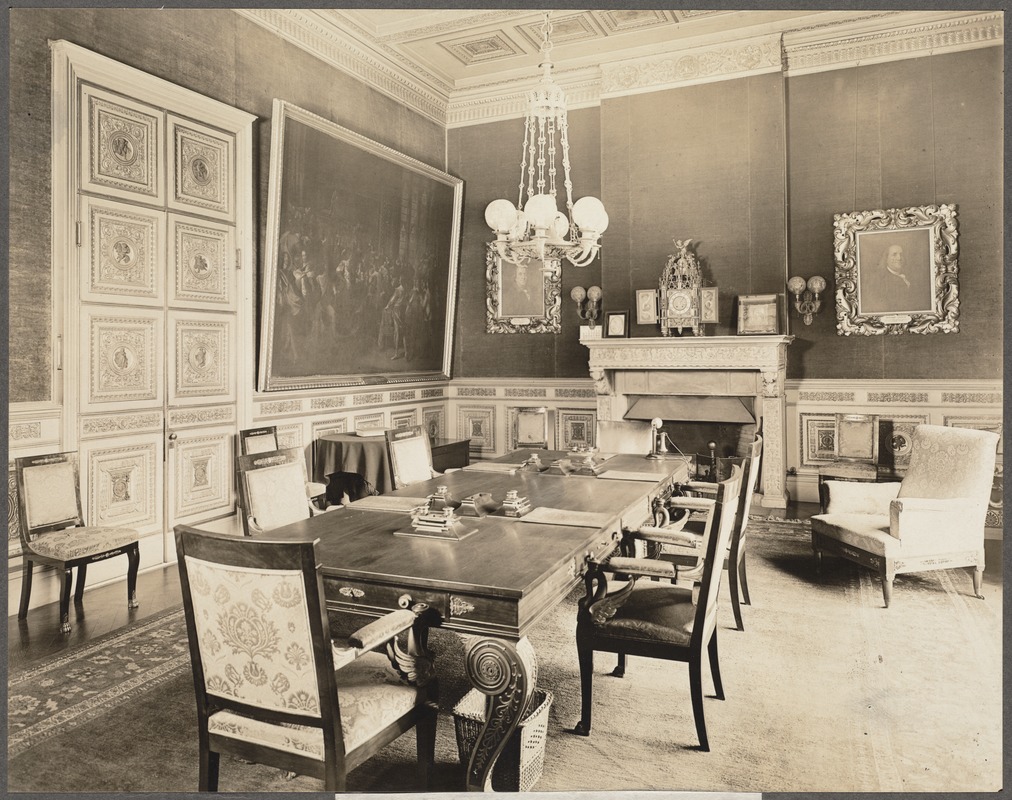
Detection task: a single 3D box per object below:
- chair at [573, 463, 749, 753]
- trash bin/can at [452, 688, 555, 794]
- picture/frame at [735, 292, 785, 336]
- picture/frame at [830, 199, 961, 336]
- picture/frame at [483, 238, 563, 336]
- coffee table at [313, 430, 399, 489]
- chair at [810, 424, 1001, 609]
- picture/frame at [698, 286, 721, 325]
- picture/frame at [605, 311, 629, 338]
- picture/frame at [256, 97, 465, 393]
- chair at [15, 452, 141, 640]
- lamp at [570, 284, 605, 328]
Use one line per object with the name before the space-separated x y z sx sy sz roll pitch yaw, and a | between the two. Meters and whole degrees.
chair | 0.728 0.870 3.673 0.904 1.436 0.989 1 -5 21
trash bin/can | 0.005 1.152 2.717 0.327 0.357 0.395 0 0 21
picture/frame | 2.191 -0.708 6.735 0.372 0.375 0.355 4 -2 43
picture/frame | 3.301 -1.096 6.445 1.145 1.348 0.142 0 -1 22
picture/frame | 0.184 -1.021 7.125 0.992 1.206 0.097 0 0 17
coffee table | -1.164 0.434 6.005 0.517 0.413 0.535 3 6 25
chair | 2.376 0.627 4.566 0.743 0.945 0.652 -2 9 -13
picture/frame | 1.803 -0.832 6.854 0.168 0.325 0.144 1 9 8
picture/frame | 1.044 -0.698 7.231 0.254 0.303 0.023 1 -1 15
picture/frame | -1.282 -1.321 6.572 0.108 2.219 3.001 10 4 23
chair | -2.365 0.728 4.180 0.593 0.867 0.510 6 10 34
lamp | 0.768 -0.913 7.502 0.343 0.371 0.153 5 10 32
